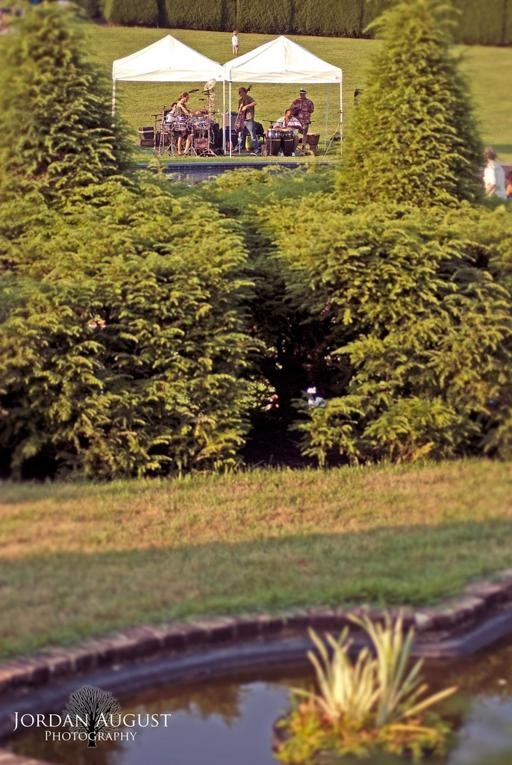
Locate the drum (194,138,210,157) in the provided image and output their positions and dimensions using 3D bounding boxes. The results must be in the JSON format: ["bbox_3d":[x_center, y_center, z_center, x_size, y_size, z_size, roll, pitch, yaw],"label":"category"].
[{"bbox_3d":[-0.975,-4.361,25.488,0.253,0.398,0.116,9,-1,8],"label":"drum"}]

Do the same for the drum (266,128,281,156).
[{"bbox_3d":[0.311,-4.450,25.628,0.251,0.472,0.560,-1,7,-2],"label":"drum"}]

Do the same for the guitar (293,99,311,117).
[{"bbox_3d":[0.828,-5.100,25.701,0.223,0.293,0.164,8,38,13],"label":"guitar"}]

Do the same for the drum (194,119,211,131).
[{"bbox_3d":[-0.963,-4.697,25.094,0.143,0.225,0.519,2,7,20],"label":"drum"}]

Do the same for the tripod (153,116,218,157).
[{"bbox_3d":[-1.270,-4.453,25.182,0.740,0.431,0.927,13,23,23],"label":"tripod"}]

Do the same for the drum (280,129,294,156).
[{"bbox_3d":[0.572,-4.476,25.745,0.245,0.438,0.594,0,7,6],"label":"drum"}]

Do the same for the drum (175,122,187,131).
[{"bbox_3d":[-1.279,-4.554,24.584,0.115,0.135,0.118,14,22,39],"label":"drum"}]
